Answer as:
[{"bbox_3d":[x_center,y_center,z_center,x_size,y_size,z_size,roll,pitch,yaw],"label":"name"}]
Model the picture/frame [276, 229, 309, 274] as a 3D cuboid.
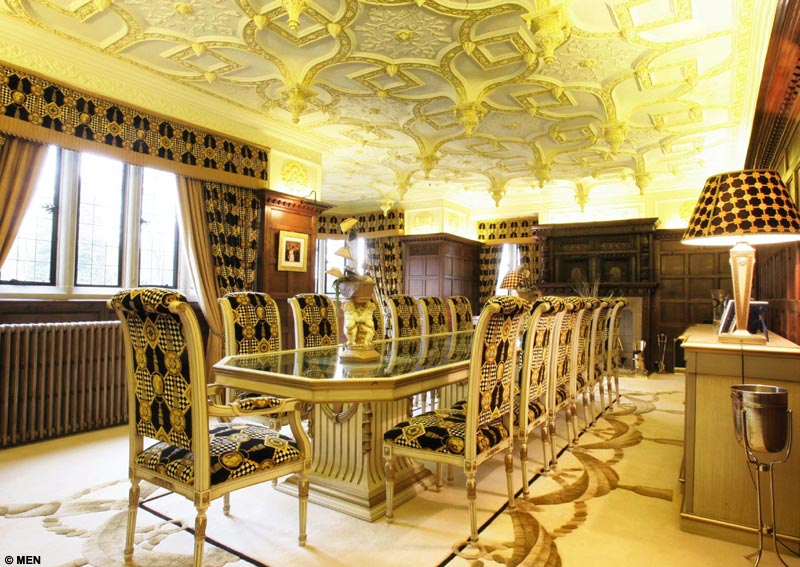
[{"bbox_3d":[-1.479,-0.436,7.143,0.050,0.586,0.659,-2,-4,36],"label":"picture/frame"}]
